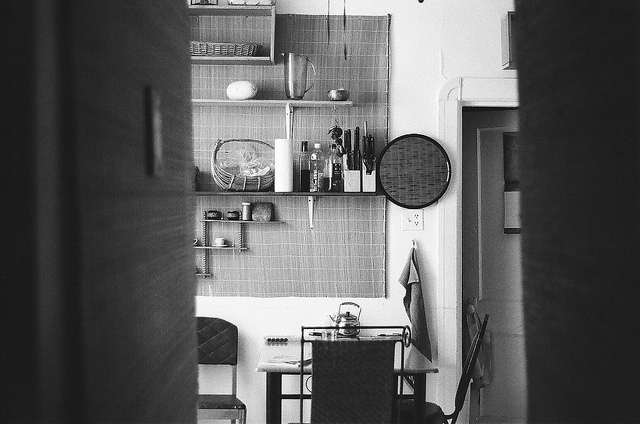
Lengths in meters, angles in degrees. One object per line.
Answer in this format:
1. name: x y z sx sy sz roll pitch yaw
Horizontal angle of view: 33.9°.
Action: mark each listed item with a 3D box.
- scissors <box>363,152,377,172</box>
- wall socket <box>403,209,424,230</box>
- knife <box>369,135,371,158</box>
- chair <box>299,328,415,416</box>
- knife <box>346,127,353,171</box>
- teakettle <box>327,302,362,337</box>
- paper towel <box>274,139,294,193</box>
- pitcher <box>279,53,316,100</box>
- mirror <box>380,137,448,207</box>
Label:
1. scissors: 0.127 -0.130 2.742 0.033 0.053 0.012 1 -2 6
2. wall socket: 0.249 0.019 2.845 0.048 0.056 0.005 0 -2 -2
3. knife: 0.130 -0.172 2.761 0.007 0.053 0.018 -5 -8 3
4. chair: 0.086 0.340 2.268 0.262 0.215 0.654 -5 -9 -1
5. knife: 0.075 -0.159 2.764 0.017 0.106 0.050 -5 -8 3
6. teakettle: 0.052 0.249 2.469 0.076 0.080 0.055 4 -9 24
7. paper towel: -0.095 -0.118 2.725 0.053 0.155 0.156 -4 -9 -1
8. pitcher: -0.063 -0.347 2.697 0.077 0.113 0.055 0 4 -17
9. mirror: 0.252 -0.105 2.817 0.167 0.192 0.043 -3 -1 -6
